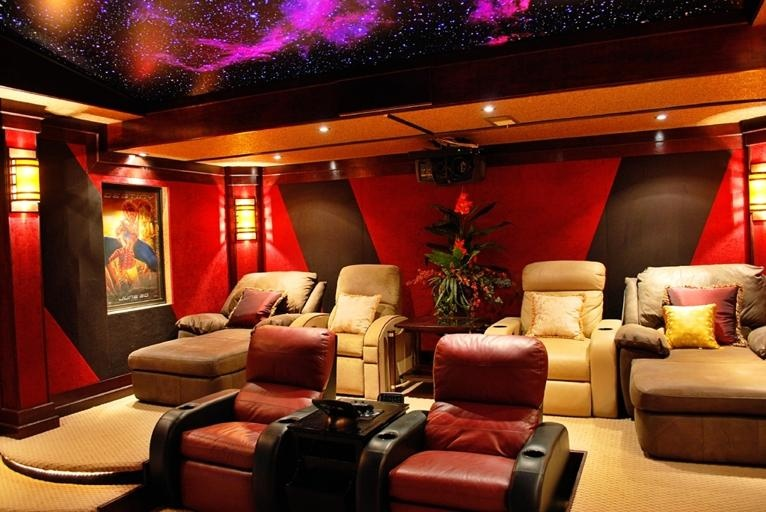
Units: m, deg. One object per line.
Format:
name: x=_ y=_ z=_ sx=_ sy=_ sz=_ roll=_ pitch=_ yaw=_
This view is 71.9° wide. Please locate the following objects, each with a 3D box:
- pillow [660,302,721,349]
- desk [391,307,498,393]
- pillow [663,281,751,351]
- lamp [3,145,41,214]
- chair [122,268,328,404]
pillow: x=3.098 y=0.707 z=5.285 sx=0.495 sy=0.435 sz=0.187 roll=1 pitch=-13 yaw=30
desk: x=0.704 y=1.125 z=6.221 sx=1.203 sy=0.761 sz=0.992 roll=-3 pitch=-3 yaw=29
pillow: x=3.291 y=0.627 z=5.329 sx=0.746 sy=0.603 sz=0.255 roll=1 pitch=-14 yaw=11
lamp: x=-3.559 y=-0.751 z=5.247 sx=0.247 sy=0.647 sz=0.132 roll=-3 pitch=4 yaw=-44
chair: x=-1.833 y=0.951 z=6.736 sx=1.602 sy=1.123 sz=2.027 roll=0 pitch=0 yaw=26
